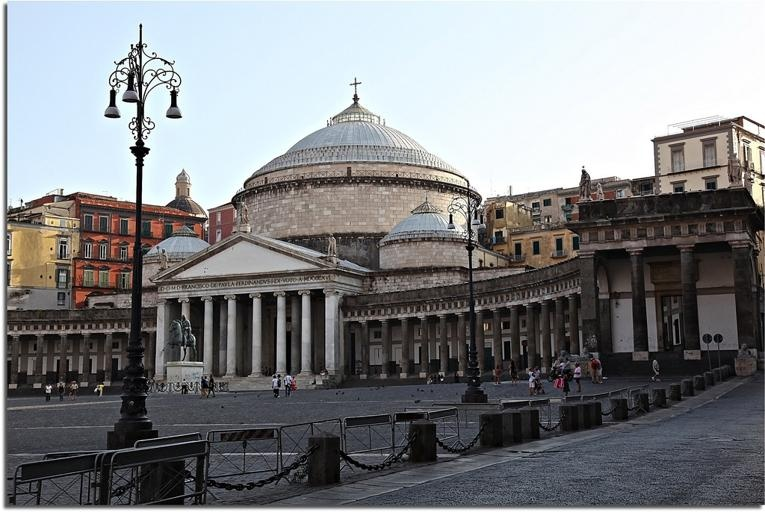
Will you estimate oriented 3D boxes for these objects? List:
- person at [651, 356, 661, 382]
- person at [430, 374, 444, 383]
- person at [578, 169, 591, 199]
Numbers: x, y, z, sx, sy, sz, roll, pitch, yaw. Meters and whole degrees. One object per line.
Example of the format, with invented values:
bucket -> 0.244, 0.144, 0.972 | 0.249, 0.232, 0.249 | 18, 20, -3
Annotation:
person -> 15.578, 6.431, 58.165 | 0.404, 1.159, 0.998 | -4, 0, 38
person -> 4.142, 9.340, 78.074 | 0.833, 0.490, 0.797 | -1, -5, 6
person -> 12.727, -4.441, 64.300 | 0.687, 1.968, 1.053 | -4, -9, 6
